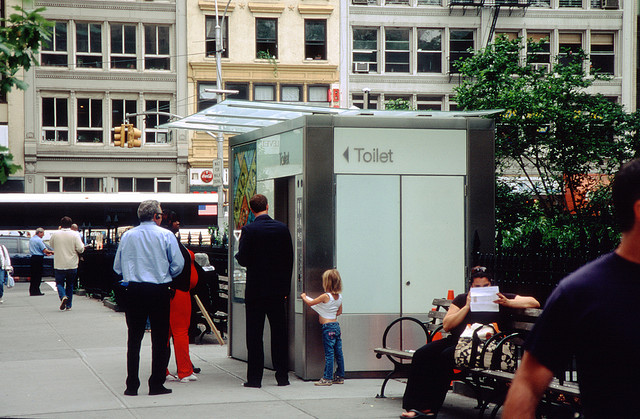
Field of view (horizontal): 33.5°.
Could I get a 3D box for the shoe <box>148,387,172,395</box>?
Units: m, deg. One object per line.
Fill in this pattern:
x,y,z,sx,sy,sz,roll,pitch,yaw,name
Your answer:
-3.385,3.745,22.214,0.457,0.265,0.150,-2,4,-30,shoe

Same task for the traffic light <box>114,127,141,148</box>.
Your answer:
-7.590,-2.825,41.620,0.989,0.730,1.344,0,3,-10,traffic light

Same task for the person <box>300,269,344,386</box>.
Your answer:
-0.034,2.491,22.747,0.741,2.438,0.411,0,3,1,person

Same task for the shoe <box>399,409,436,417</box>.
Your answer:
1.803,3.961,20.875,0.444,0.111,0.152,3,-8,2,shoe

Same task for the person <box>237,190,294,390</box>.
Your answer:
-1.271,1.719,22.642,1.100,4.039,0.600,-1,3,-12,person

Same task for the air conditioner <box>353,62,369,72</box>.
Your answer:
1.540,-6.711,50.561,0.752,0.468,0.395,1,4,-5,air conditioner

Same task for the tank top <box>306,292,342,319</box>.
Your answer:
0.017,2.099,22.945,0.659,0.588,0.424,-9,-6,28,tank top

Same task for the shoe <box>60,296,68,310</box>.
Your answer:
-7.460,2.705,31.042,0.171,0.388,0.154,8,14,-42,shoe

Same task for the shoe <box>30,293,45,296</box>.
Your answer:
-9.323,2.791,35.175,0.362,0.037,0.480,0,3,9,shoe

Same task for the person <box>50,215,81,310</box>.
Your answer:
-7.516,1.587,31.631,0.787,2.696,1.529,-1,3,-14,person

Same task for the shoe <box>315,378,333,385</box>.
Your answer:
-0.066,3.652,22.700,0.269,0.109,0.135,2,-4,0,shoe

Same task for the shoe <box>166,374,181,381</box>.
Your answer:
-3.235,3.603,22.959,0.277,0.103,0.225,0,3,-5,shoe
